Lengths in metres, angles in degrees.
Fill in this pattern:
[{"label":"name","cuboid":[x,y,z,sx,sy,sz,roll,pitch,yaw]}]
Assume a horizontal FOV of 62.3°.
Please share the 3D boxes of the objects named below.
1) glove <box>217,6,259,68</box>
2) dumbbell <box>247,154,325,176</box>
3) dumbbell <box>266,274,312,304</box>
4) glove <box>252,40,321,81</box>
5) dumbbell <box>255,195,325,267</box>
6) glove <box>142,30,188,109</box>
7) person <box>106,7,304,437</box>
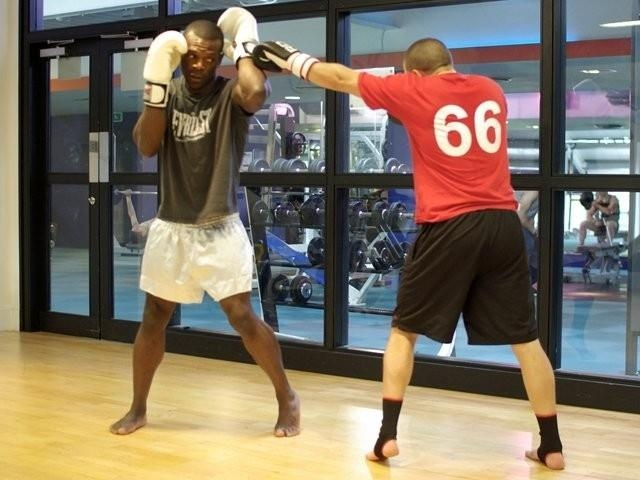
[{"label":"glove","cuboid":[-0.387,-1.003,2.662,0.217,0.295,0.222,2,5,33]},{"label":"dumbbell","cuboid":[-0.229,-0.557,4.040,0.720,0.219,0.189,2,1,27]},{"label":"dumbbell","cuboid":[-0.229,0.379,4.127,0.370,0.272,0.231,-1,-1,45]},{"label":"glove","cuboid":[-0.158,-0.842,2.456,0.274,0.108,0.193,14,35,36]},{"label":"dumbbell","cuboid":[-0.184,-0.130,4.006,0.483,0.533,0.150,3,10,10]},{"label":"glove","cuboid":[-0.714,-0.808,2.457,0.121,0.430,0.166,3,7,35]},{"label":"person","cuboid":[-0.553,-0.257,2.788,0.692,2.511,0.750,2,3,18]}]
